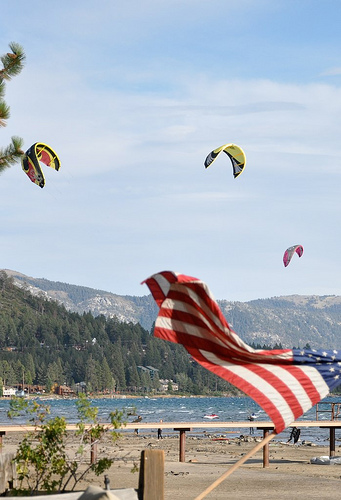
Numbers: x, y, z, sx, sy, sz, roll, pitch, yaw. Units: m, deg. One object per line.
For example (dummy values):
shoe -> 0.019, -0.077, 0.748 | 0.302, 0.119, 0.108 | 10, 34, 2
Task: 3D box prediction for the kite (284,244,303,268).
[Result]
kite -> 3.973, 0.088, 37.308 | 0.254, 0.723, 0.370 | 21, -5, -26
